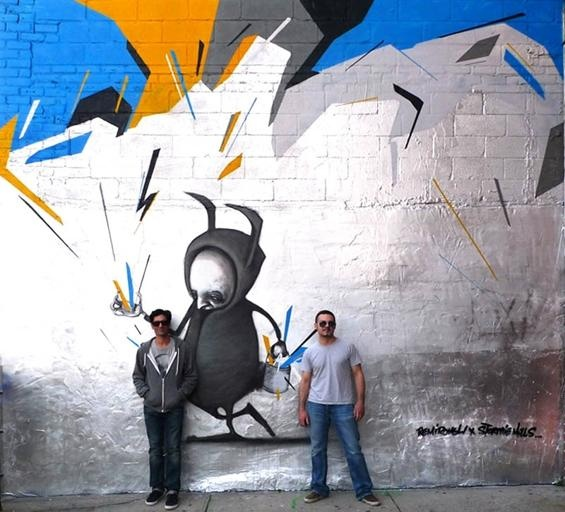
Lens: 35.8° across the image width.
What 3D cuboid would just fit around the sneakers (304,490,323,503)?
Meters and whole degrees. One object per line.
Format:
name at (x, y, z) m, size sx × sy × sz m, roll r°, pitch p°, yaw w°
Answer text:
sneakers at (0.308, 2.527, 9.083) m, size 0.215 × 0.094 × 0.082 m, roll -3°, pitch -5°, yaw 37°

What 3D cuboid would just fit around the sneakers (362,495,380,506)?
sneakers at (0.917, 2.552, 9.028) m, size 0.081 × 0.086 × 0.197 m, roll 9°, pitch -15°, yaw -39°

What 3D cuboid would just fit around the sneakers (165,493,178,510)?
sneakers at (-1.149, 2.545, 9.053) m, size 0.141 × 0.156 × 0.243 m, roll 2°, pitch -4°, yaw -7°

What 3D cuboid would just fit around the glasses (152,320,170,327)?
glasses at (-1.279, 0.726, 9.180) m, size 0.180 × 0.072 × 0.079 m, roll 3°, pitch -4°, yaw -23°

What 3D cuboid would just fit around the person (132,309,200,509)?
person at (-1.263, 1.602, 9.210) m, size 0.588 × 2.032 × 0.371 m, roll 0°, pitch -4°, yaw 24°
